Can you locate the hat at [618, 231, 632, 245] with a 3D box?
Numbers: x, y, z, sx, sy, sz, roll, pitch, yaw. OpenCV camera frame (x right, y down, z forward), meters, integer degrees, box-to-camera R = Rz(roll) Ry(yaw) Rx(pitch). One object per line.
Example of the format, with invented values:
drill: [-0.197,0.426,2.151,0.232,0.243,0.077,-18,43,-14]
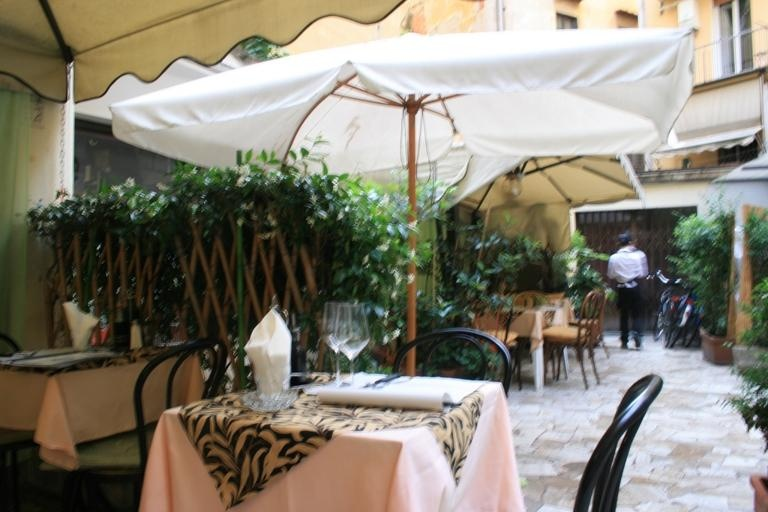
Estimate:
hat: [4.076,-0.320,11.188,0.183,0.218,0.256,-6,-22,21]

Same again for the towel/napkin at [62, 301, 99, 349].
towel/napkin: [-2.136,0.523,4.746,0.173,0.218,0.195,16,13,33]

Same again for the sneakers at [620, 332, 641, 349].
sneakers: [4.081,1.379,11.015,0.242,0.254,0.262,2,2,6]

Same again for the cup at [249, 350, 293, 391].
cup: [-0.605,0.627,3.612,0.202,0.244,0.197,-2,-10,0]
